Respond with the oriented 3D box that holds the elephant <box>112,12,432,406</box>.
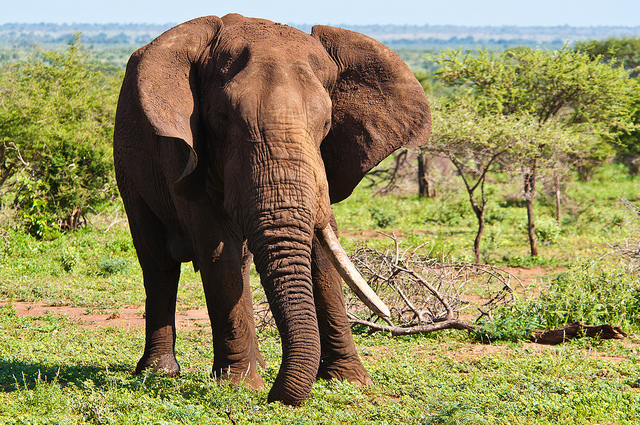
[{"bbox_3d":[-1.245,-0.140,13.709,4.301,5.818,6.900,-1,7,-23],"label":"elephant"}]
